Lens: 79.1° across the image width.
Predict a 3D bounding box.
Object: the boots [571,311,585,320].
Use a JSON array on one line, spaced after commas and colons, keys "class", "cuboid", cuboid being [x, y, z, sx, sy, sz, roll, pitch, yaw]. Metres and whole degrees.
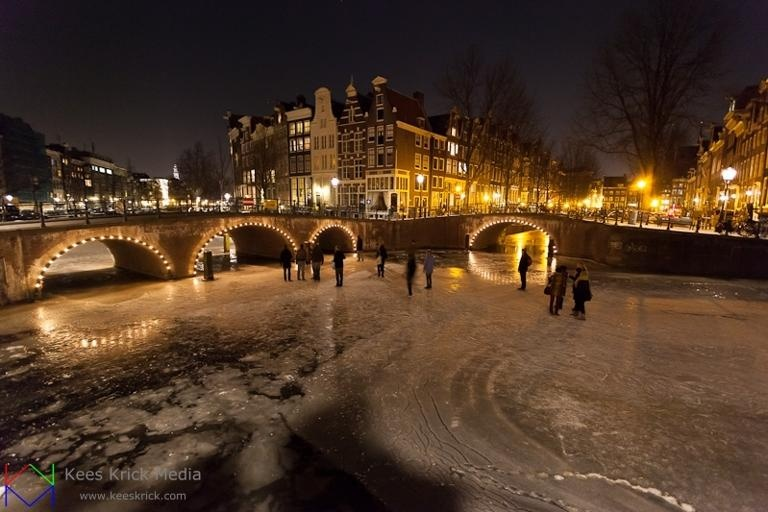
[{"class": "boots", "cuboid": [8.863, 2.692, 21.280, 0.212, 0.427, 0.615, -6, 21, -3]}]
